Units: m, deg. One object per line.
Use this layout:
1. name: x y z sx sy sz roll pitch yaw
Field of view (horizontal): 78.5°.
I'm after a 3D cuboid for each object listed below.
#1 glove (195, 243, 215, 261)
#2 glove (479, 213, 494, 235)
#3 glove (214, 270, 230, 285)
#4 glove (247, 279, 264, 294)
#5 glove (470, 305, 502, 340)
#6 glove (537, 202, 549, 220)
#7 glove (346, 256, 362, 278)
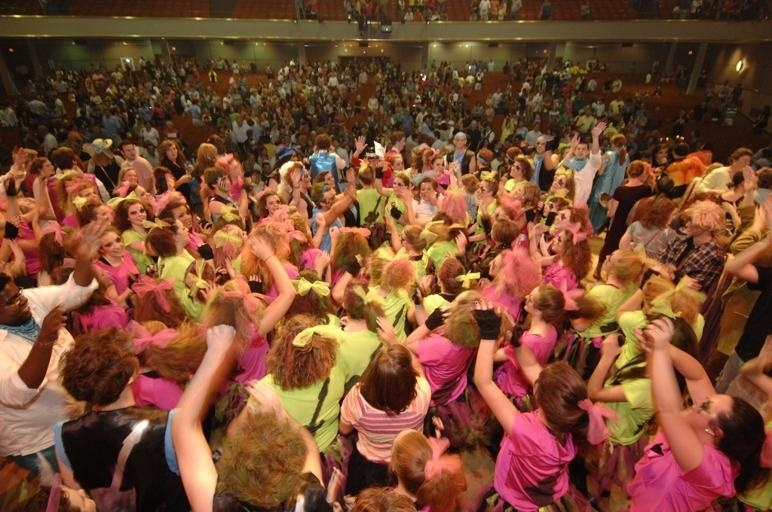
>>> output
1. glove: -2.026 -0.066 5.344 0.158 0.176 0.170 3 32 41
2. glove: 1.391 -0.465 6.611 0.083 0.251 0.178 4 4 -27
3. glove: -1.798 0.230 5.145 0.129 0.062 0.178 27 47 10
4. glove: -1.311 0.319 4.713 0.170 0.135 0.149 2 23 -10
5. glove: 0.855 0.577 4.029 0.239 0.281 0.118 3 22 -8
6. glove: 2.237 -0.633 6.746 0.079 0.234 0.166 3 25 17
7. glove: -0.343 0.114 5.053 0.156 0.217 0.068 -20 -26 31
